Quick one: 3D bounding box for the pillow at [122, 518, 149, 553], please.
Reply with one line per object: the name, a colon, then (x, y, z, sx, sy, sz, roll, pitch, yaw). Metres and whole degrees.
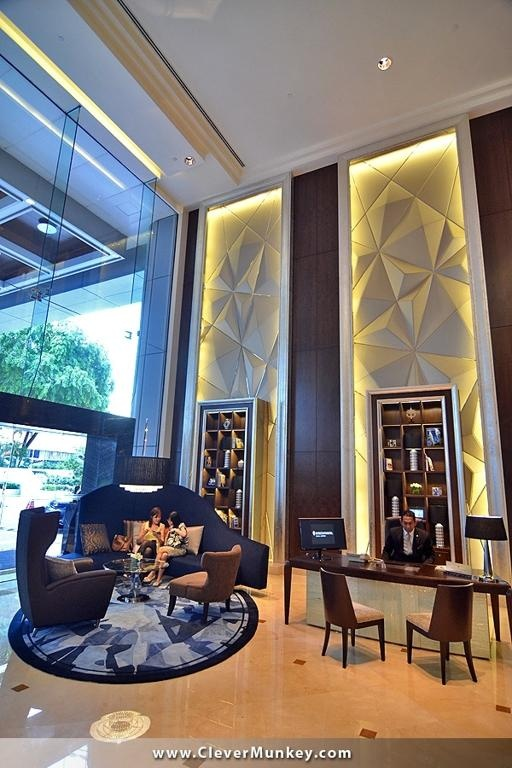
pillow: (-1.683, 2.084, 6.200, 0.315, 0.382, 0.132, -7, -33, 14)

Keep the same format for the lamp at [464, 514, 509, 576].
lamp: (1.892, 1.330, 3.749, 0.272, 0.462, 0.418, -1, -12, 14)

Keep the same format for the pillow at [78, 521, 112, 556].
pillow: (-2.084, 1.971, 5.796, 0.093, 0.364, 0.368, -27, -15, 24)

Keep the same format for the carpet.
carpet: (-0.918, 2.116, 3.892, 2.086, 0.044, 1.899, 12, -16, -38)

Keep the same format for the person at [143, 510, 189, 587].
person: (-1.134, 2.073, 5.695, 0.364, 1.075, 0.618, -27, -41, 7)

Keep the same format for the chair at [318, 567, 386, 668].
chair: (0.783, 1.831, 3.653, 0.492, 0.649, 0.752, -1, -12, 13)

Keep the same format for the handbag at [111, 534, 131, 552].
handbag: (-1.804, 2.138, 6.063, 0.262, 0.291, 0.143, 12, -32, -25)

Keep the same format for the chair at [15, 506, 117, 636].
chair: (-1.826, 1.669, 4.435, 0.903, 1.409, 0.917, 4, -10, -30)

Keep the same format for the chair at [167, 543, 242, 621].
chair: (-0.498, 1.838, 4.448, 0.596, 0.814, 0.739, -9, -24, 24)

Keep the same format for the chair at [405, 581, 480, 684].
chair: (1.306, 1.731, 3.231, 0.478, 0.636, 0.344, -7, -14, 37)

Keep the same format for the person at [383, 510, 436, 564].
person: (1.563, 1.685, 4.685, 0.501, 0.776, 0.498, -3, 20, 15)
